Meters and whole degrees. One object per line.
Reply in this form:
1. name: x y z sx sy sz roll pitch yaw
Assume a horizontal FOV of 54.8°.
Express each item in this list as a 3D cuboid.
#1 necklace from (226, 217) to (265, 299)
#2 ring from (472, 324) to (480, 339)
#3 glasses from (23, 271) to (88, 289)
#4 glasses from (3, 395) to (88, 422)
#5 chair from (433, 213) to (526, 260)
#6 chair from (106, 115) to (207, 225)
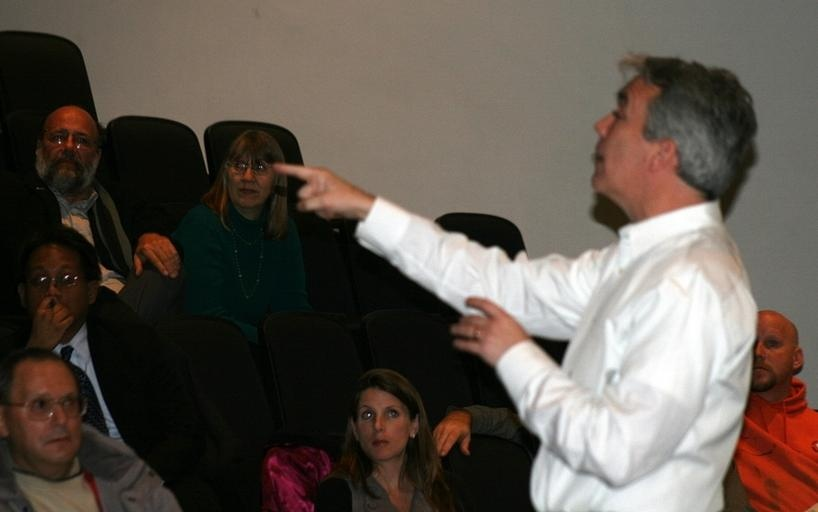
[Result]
1. necklace: -0.465 0.015 2.299 0.099 0.207 0.008 -3 -10 -6
2. ring: 0.127 0.141 1.477 0.019 0.027 0.007 1 -1 -7
3. glasses: -0.839 0.056 1.866 0.113 0.035 0.024 0 7 -30
4. glasses: -0.791 0.333 1.724 0.156 0.045 0.030 0 7 -33
5. chair: 0.234 -0.068 2.613 0.237 0.193 0.237 5 -13 -15
6. chair: -0.848 -0.197 2.606 0.309 0.458 0.372 2 2 -19
